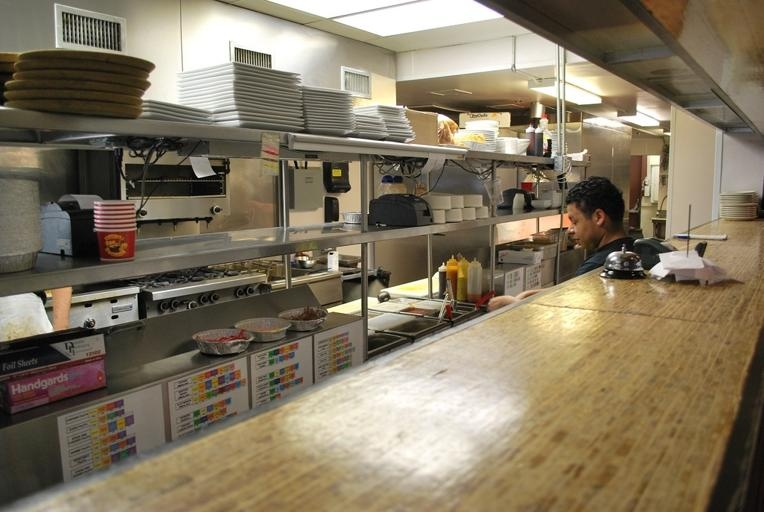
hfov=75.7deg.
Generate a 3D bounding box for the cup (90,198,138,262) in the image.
[{"bbox_3d":[-1.042,-0.100,1.926,0.151,0.229,0.195,-7,9,-29],"label":"cup"}]

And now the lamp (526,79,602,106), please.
[{"bbox_3d":[2.308,-2.057,6.170,0.262,0.086,1.349,13,12,35],"label":"lamp"}]

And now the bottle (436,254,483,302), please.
[{"bbox_3d":[0.629,0.183,3.953,0.418,0.413,0.335,2,3,29],"label":"bottle"}]

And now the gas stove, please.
[{"bbox_3d":[-1.768,0.271,4.319,0.973,0.225,1.110,7,10,40],"label":"gas stove"}]

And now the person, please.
[{"bbox_3d":[1.316,-0.055,3.623,1.291,0.840,0.561,-4,10,42],"label":"person"}]

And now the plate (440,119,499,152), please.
[{"bbox_3d":[0.735,-1.009,4.111,0.558,0.167,0.400,3,9,22],"label":"plate"}]
